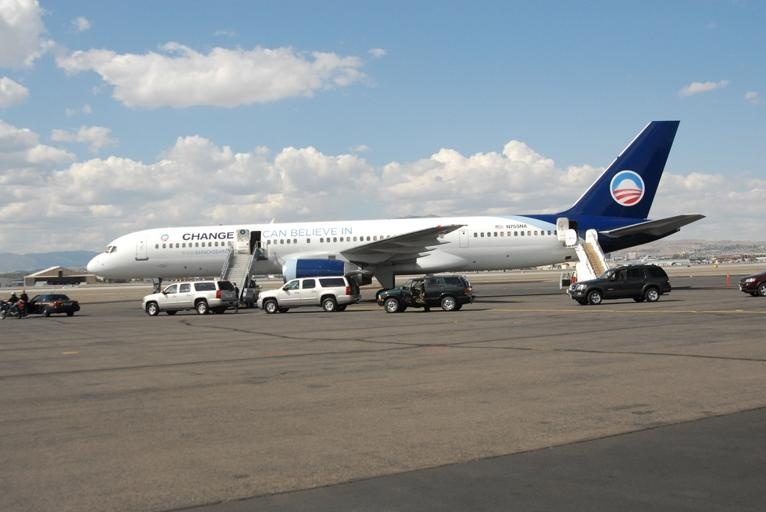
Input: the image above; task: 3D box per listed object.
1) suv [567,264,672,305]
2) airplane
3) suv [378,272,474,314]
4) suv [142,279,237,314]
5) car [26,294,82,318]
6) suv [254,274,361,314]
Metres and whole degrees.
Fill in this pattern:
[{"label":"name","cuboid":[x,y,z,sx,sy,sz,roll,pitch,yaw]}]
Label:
[{"label":"suv","cuboid":[11.937,1.509,29.055,5.101,1.551,2.057,1,-3,-3]},{"label":"airplane","cuboid":[-1.193,-2.580,36.494,39.615,9.481,8.238,-4,-5,12]},{"label":"suv","cuboid":[2.212,1.878,27.487,3.613,1.224,2.040,1,-2,6]},{"label":"suv","cuboid":[-10.503,2.313,31.106,4.742,1.370,2.064,0,-2,10]},{"label":"car","cuboid":[-20.235,2.989,34.512,3.402,0.891,1.590,3,3,39]},{"label":"suv","cuboid":[-3.760,2.055,29.633,4.772,1.399,2.107,1,-2,9]}]
